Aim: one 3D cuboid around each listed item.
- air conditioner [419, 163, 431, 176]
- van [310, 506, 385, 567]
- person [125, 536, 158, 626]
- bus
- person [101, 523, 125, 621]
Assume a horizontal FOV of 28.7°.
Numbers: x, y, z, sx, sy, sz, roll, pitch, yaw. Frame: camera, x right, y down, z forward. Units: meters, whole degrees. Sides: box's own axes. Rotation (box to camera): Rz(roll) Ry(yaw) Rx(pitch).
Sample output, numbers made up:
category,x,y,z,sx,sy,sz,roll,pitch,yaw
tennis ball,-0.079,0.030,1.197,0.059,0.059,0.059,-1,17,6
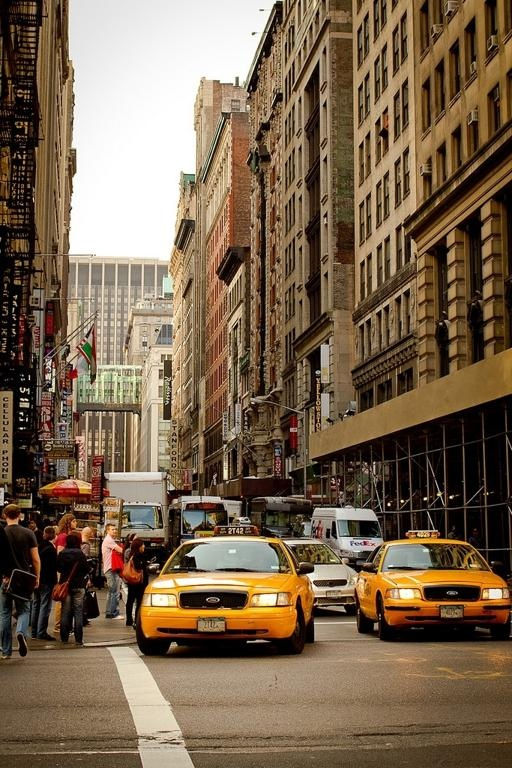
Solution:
category,x,y,z,sx,sy,sz,roll,pitch,yaw
air conditioner,6.628,-8.420,38.904,0.380,0.526,0.686,-1,-11,5
van,3.104,5.051,33.409,1.378,2.166,3.111,0,-9,-13
person,-2.149,3.471,17.788,0.435,2.271,0.889,0,-6,3
bus,-3.045,6.153,49.381,2.227,3.402,6.592,0,-11,-8
person,-2.956,3.812,20.448,0.733,2.294,0.610,1,-3,-15
